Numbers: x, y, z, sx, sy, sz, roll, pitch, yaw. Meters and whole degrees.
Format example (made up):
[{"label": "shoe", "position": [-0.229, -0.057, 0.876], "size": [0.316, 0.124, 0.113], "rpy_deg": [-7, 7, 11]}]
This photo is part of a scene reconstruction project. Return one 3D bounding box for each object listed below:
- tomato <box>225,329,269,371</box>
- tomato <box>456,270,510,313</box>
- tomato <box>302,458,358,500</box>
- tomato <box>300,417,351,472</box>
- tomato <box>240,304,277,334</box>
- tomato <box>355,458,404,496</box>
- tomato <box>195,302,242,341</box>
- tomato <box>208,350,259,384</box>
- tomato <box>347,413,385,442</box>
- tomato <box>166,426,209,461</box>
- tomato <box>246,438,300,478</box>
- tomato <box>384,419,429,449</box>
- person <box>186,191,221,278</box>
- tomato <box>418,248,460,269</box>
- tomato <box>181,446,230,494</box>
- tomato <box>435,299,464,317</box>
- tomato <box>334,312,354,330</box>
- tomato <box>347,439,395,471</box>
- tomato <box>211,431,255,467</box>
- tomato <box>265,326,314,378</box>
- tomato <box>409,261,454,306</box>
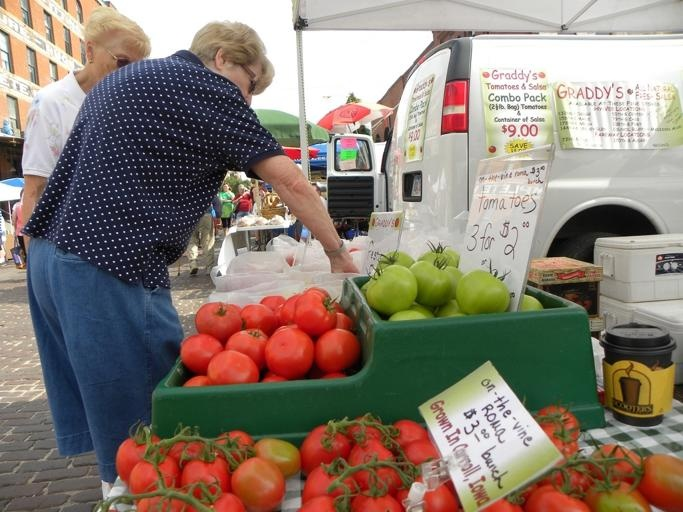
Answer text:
[{"label": "tomato", "position": [-0.305, 0.291, 1.568], "size": [0.126, 0.137, 0.124], "rpy_deg": [7, -2, -8]}, {"label": "tomato", "position": [0.452, 0.119, 1.564], "size": [0.137, 0.144, 0.137], "rpy_deg": [15, -9, -11]}, {"label": "tomato", "position": [-0.020, 0.514, 1.102], "size": [0.081, 0.099, 0.087], "rpy_deg": [23, 25, -37]}, {"label": "tomato", "position": [-0.061, 0.489, 1.290], "size": [0.128, 0.165, 0.138], "rpy_deg": [2, 37, -14]}, {"label": "tomato", "position": [-0.310, 0.230, 1.799], "size": [0.108, 0.118, 0.108], "rpy_deg": [1, 16, 5]}, {"label": "tomato", "position": [0.085, 0.510, 1.099], "size": [0.075, 0.081, 0.079], "rpy_deg": [-26, 3, 41]}, {"label": "tomato", "position": [-0.432, 0.247, 1.685], "size": [0.132, 0.149, 0.143], "rpy_deg": [10, -19, -11]}, {"label": "tomato", "position": [-0.319, 0.331, 1.450], "size": [0.108, 0.103, 0.104], "rpy_deg": [22, 1, 28]}, {"label": "tomato", "position": [0.066, 0.441, 1.236], "size": [0.065, 0.071, 0.064], "rpy_deg": [0, 5, 1]}, {"label": "tomato", "position": [-0.384, 0.460, 1.202], "size": [0.089, 0.096, 0.091], "rpy_deg": [1, 15, 0]}, {"label": "tomato", "position": [-0.181, 0.511, 1.273], "size": [0.119, 0.092, 0.089], "rpy_deg": [24, 7, -16]}, {"label": "tomato", "position": [0.180, 0.464, 1.286], "size": [0.109, 0.066, 0.070], "rpy_deg": [31, -23, -34]}, {"label": "person", "position": [-2.830, -0.724, 9.744], "size": [0.408, 1.669, 0.402], "rpy_deg": [6, 8, -20]}, {"label": "tomato", "position": [0.389, 0.010, 1.832], "size": [0.105, 0.111, 0.103], "rpy_deg": [1, -8, -37]}, {"label": "tomato", "position": [-0.321, 0.491, 1.142], "size": [0.099, 0.108, 0.103], "rpy_deg": [0, -11, -9]}, {"label": "tomato", "position": [0.375, 0.174, 1.612], "size": [0.052, 0.066, 0.054], "rpy_deg": [8, 36, -6]}, {"label": "tomato", "position": [0.011, 0.232, 1.732], "size": [0.053, 0.069, 0.057], "rpy_deg": [1, 9, 7]}, {"label": "tomato", "position": [0.067, 0.475, 1.156], "size": [0.080, 0.084, 0.078], "rpy_deg": [10, 28, -6]}, {"label": "tomato", "position": [-0.275, 0.466, 1.210], "size": [0.081, 0.090, 0.086], "rpy_deg": [2, 7, 0]}, {"label": "tomato", "position": [-0.161, 0.307, 1.569], "size": [0.143, 0.159, 0.153], "rpy_deg": [9, -7, -22]}, {"label": "tomato", "position": [0.310, 0.101, 1.688], "size": [0.142, 0.136, 0.134], "rpy_deg": [33, -8, -12]}]
